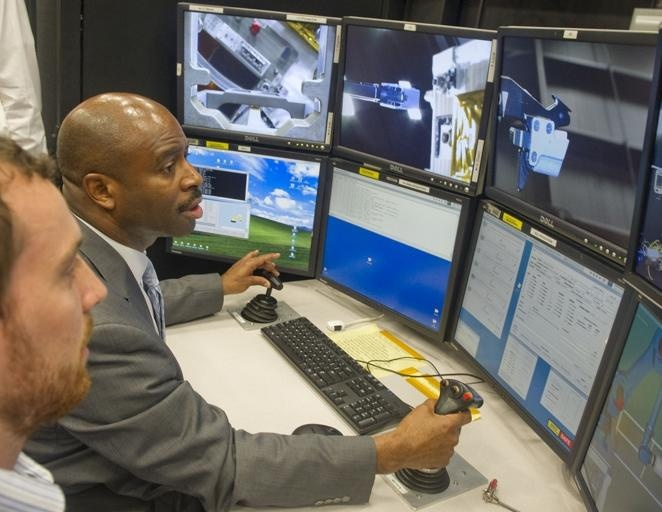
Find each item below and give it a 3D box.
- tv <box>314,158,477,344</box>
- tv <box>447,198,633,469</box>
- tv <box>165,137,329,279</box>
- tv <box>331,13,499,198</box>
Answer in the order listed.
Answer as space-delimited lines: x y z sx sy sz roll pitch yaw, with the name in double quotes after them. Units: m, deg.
0.241 -0.027 1.760 0.525 0.467 0.046 28 26 36 "tv"
0.549 0.209 1.301 0.053 0.475 0.557 6 26 -27 "tv"
-0.288 -0.200 1.884 0.475 0.382 0.017 8 15 7 "tv"
0.270 -0.484 1.642 0.561 0.495 0.060 21 27 33 "tv"
